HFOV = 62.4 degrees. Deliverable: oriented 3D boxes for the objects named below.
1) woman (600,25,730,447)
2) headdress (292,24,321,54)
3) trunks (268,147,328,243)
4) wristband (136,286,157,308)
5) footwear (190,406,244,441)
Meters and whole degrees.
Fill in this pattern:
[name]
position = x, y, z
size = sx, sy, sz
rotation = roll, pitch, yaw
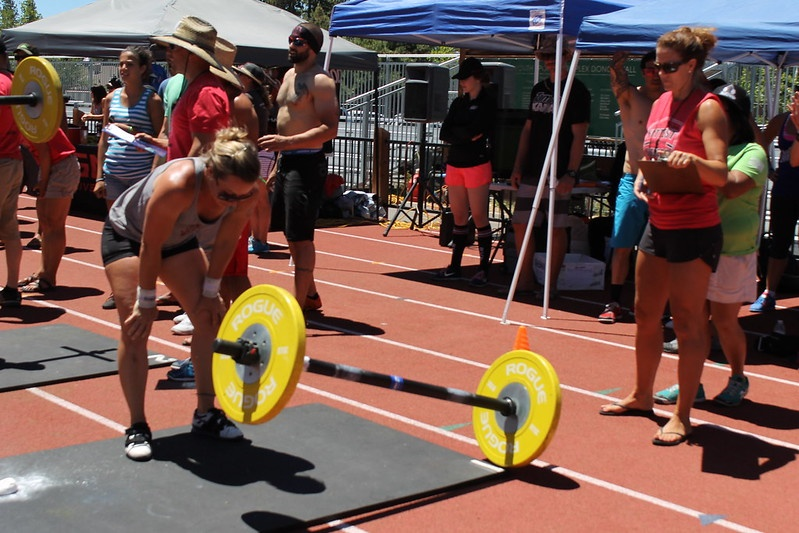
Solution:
[woman]
position = 1.967, -0.204, 4.786
size = 0.666, 3.026, 0.693
rotation = 14, 17, 42
[headdress]
position = -0.970, -2.439, 6.991
size = 0.291, 0.336, 0.420
rotation = 5, 12, 6
[trunks]
position = -1.090, -0.816, 7.170
size = 0.477, 0.995, 0.732
rotation = -4, 17, -31
[wristband]
position = -1.573, 0.190, 4.140
size = 0.120, 0.131, 0.128
rotation = 3, -1, -1
[footwear]
position = -1.249, 1.085, 4.544
size = 0.405, 0.191, 0.154
rotation = 8, 3, 17
